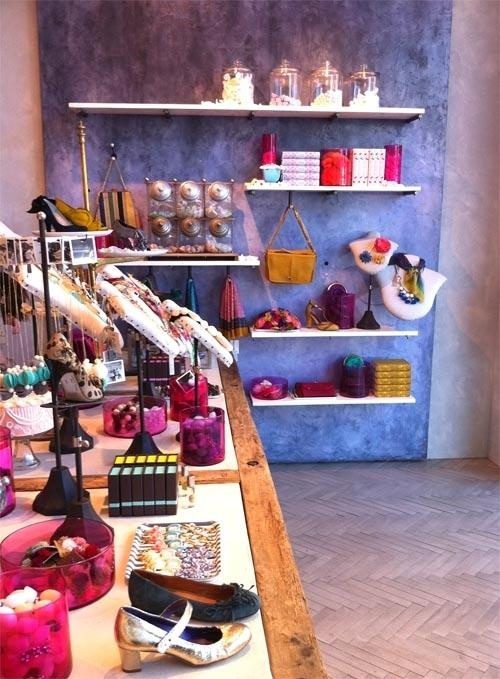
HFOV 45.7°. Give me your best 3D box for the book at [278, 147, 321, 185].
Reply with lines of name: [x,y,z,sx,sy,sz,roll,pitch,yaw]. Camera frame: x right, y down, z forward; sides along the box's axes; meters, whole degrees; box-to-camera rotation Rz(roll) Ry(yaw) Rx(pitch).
book: [0.300,-0.983,3.414,0.208,0.197,0.193,13,33,24]

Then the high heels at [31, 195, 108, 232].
high heels: [-0.582,-0.407,1.925,0.209,0.126,0.335,-4,8,-14]

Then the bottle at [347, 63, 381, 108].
bottle: [0.655,-1.451,3.410,0.181,0.254,0.180,-1,25,0]

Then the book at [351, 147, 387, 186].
book: [0.674,-0.989,3.420,0.207,0.257,0.274,1,6,8]

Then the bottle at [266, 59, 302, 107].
bottle: [0.197,-1.401,3.298,0.161,0.257,0.233,-1,8,2]

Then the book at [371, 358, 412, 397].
book: [0.904,0.240,3.746,0.227,0.188,0.224,0,1,5]

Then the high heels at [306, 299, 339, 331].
high heels: [0.428,-0.137,3.718,0.263,0.178,0.125,4,9,18]

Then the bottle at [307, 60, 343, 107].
bottle: [0.441,-1.449,3.373,0.164,0.253,0.158,-2,23,1]

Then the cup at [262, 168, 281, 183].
cup: [0.129,-0.925,3.367,0.085,0.053,0.083,0,2,0]

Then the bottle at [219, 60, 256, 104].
bottle: [-0.069,-1.407,3.256,0.181,0.272,0.159,-2,9,-3]
